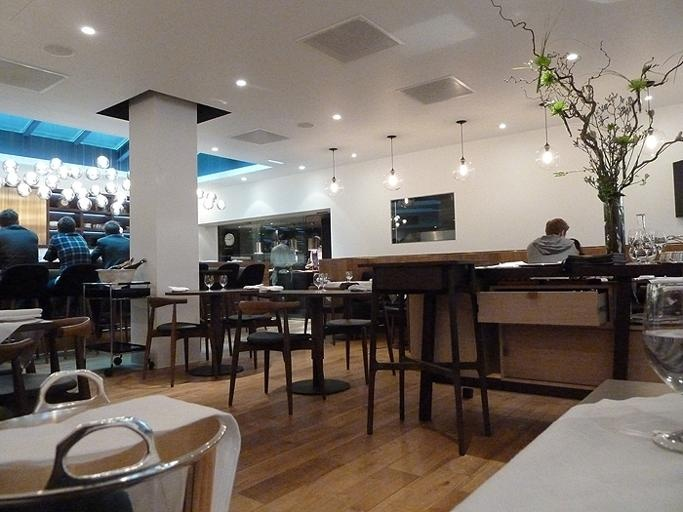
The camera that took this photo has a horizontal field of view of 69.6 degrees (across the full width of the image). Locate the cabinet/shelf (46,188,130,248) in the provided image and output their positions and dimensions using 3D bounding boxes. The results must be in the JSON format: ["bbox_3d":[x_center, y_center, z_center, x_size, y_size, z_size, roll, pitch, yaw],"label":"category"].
[{"bbox_3d":[-4.459,-0.685,8.499,1.284,1.234,0.378,4,-4,-35],"label":"cabinet/shelf"}]

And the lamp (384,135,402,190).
[{"bbox_3d":[0.796,-1.413,7.633,0.303,0.898,0.283,-4,4,-17],"label":"lamp"}]

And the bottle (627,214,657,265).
[{"bbox_3d":[1.595,-0.059,2.592,0.124,0.229,0.209,-2,0,33],"label":"bottle"}]
